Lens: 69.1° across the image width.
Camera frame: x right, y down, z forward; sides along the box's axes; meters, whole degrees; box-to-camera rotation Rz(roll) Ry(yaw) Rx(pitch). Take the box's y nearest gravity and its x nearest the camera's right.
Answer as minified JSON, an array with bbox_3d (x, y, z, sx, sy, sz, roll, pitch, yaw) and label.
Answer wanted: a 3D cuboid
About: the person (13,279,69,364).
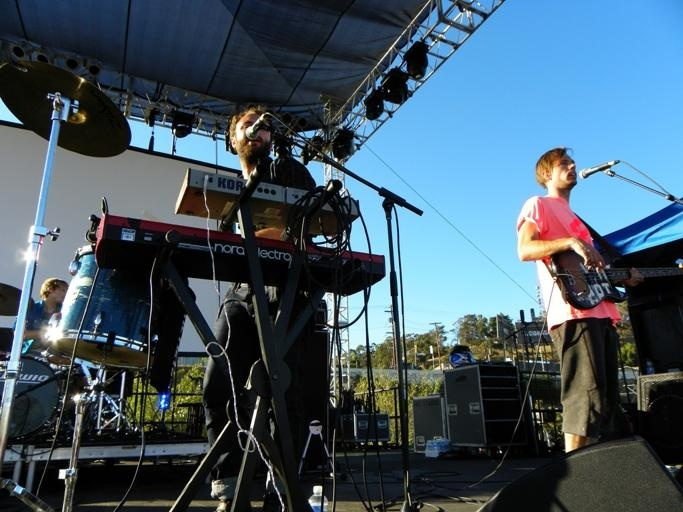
[{"bbox_3d":[-2.433,0.549,4.042,0.391,0.866,0.452,0,-4,37],"label":"person"}]

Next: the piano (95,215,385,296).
[{"bbox_3d":[-0.512,0.023,2.597,1.452,0.392,0.424,0,-16,-13],"label":"piano"}]

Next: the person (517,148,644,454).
[{"bbox_3d":[1.469,0.191,3.209,0.456,1.978,0.529,-14,-18,38],"label":"person"}]

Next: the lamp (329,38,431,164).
[{"bbox_3d":[0.857,-2.822,8.601,1.225,2.095,1.408,5,1,-30],"label":"lamp"}]
